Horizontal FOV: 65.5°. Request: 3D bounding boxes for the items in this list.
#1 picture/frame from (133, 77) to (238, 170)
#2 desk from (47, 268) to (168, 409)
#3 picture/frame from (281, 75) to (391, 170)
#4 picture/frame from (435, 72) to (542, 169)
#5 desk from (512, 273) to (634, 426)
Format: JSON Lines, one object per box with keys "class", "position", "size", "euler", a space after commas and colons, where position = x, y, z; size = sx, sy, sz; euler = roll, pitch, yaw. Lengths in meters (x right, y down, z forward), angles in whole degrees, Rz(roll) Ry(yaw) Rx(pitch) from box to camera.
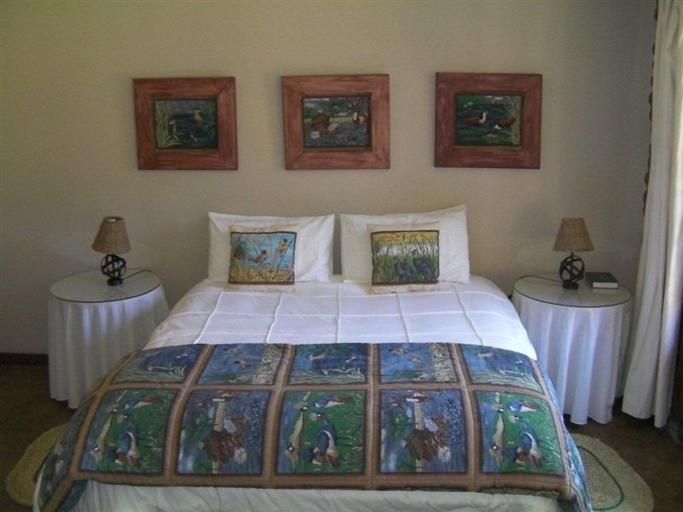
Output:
{"class": "picture/frame", "position": [-1.088, -0.969, 3.751], "size": [0.668, 0.576, 0.045], "euler": [0, 11, 4]}
{"class": "desk", "position": [-1.646, 0.450, 3.729], "size": [0.822, 0.748, 0.788], "euler": [-9, 28, -27]}
{"class": "picture/frame", "position": [-0.023, -0.961, 3.694], "size": [0.660, 0.563, 0.049], "euler": [0, 10, -2]}
{"class": "picture/frame", "position": [1.037, -0.966, 3.654], "size": [0.677, 0.593, 0.051], "euler": [0, 6, 1]}
{"class": "desk", "position": [1.545, 0.614, 3.568], "size": [0.722, 0.753, 0.683], "euler": [2, 8, -3]}
